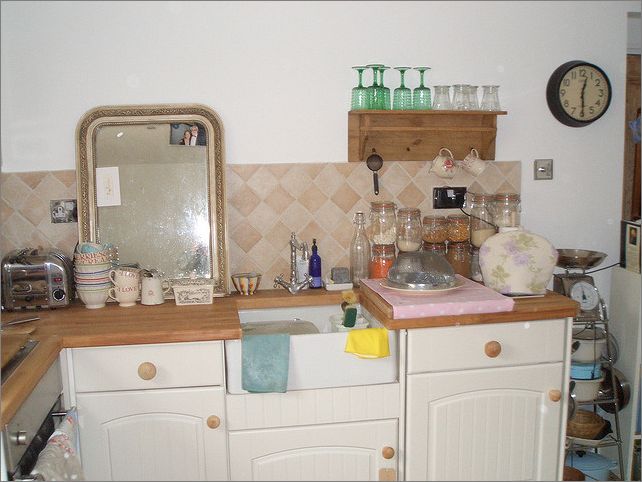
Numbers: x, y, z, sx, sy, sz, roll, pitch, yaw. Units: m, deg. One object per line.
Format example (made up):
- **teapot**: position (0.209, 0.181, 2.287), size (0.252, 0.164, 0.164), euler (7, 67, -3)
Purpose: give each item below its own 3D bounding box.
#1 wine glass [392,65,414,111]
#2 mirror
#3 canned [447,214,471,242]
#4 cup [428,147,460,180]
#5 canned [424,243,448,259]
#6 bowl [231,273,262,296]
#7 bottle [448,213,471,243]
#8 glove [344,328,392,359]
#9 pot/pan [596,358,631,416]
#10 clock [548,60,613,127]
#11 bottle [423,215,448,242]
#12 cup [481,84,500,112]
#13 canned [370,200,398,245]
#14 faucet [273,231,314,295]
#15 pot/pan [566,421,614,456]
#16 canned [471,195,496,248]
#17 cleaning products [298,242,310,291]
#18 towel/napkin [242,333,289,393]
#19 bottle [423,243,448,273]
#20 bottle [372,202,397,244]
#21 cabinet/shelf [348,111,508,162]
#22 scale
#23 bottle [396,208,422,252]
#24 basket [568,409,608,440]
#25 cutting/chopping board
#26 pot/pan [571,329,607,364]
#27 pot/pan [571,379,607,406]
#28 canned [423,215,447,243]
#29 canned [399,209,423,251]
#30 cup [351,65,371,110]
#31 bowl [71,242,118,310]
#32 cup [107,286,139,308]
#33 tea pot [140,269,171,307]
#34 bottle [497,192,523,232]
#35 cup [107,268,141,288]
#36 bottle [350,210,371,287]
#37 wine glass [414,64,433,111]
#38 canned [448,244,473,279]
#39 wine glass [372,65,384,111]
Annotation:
- **wine glass**: position (0.450, -0.845, 3.009), size (0.109, 0.250, 0.156), euler (-1, 5, 6)
- **mirror**: position (-0.924, -0.213, 2.853), size (0.962, 1.368, 0.093), euler (0, 6, -3)
- **canned**: position (0.752, -0.074, 2.985), size (0.130, 0.150, 0.137), euler (1, 7, 8)
- **cup**: position (0.686, -0.421, 3.070), size (0.144, 0.210, 0.119), euler (-1, 9, 23)
- **canned**: position (0.648, 0.058, 3.030), size (0.085, 0.086, 0.086), euler (-1, 2, -27)
- **bowl**: position (-0.410, 0.233, 2.972), size (0.153, 0.111, 0.140), euler (-1, 5, 0)
- **bottle**: position (0.756, -0.068, 2.978), size (0.134, 0.155, 0.136), euler (-3, 6, -42)
- **glove**: position (0.214, 0.469, 2.453), size (0.145, 0.067, 0.155), euler (-9, -20, 33)
- **pot/pan**: position (1.636, 0.807, 3.019), size (0.238, 0.269, 0.217), euler (-1, 0, -21)
- **clock**: position (1.510, -0.861, 3.164), size (0.332, 0.359, 0.107), euler (0, -1, 8)
- **bottle**: position (0.626, -0.066, 2.984), size (0.131, 0.135, 0.136), euler (1, 7, 11)
- **cup**: position (0.945, -0.790, 3.019), size (0.129, 0.178, 0.128), euler (-1, 14, 0)
- **canned**: position (0.344, -0.099, 3.006), size (0.148, 0.255, 0.160), euler (-5, 17, -11)
- **faucet**: position (-0.157, 0.117, 2.985), size (0.212, 0.327, 0.218), euler (-2, 5, -5)
- **pot/pan**: position (1.482, 1.077, 2.977), size (0.206, 0.067, 0.216), euler (-2, -1, 2)
- **canned**: position (0.905, -0.109, 3.043), size (0.155, 0.297, 0.129), euler (2, 6, 35)
- **cleaning products**: position (-0.082, 0.123, 3.025), size (0.075, 0.277, 0.071), euler (-8, -26, 1)
- **towel/napkin**: position (-0.251, 0.543, 2.399), size (0.224, 0.243, 0.057), euler (-1, 5, 4)
- **bottle**: position (0.587, 0.091, 2.724), size (0.141, 0.158, 0.158), euler (0, -2, -9)
- **bottle**: position (0.347, -0.101, 3.005), size (0.146, 0.251, 0.158), euler (-1, 19, 1)
- **cabinet/shelf**: position (0.583, -0.576, 2.982), size (0.818, 0.313, 0.224), euler (0, 16, -1)
- **scale**: position (1.404, 0.242, 2.974), size (0.261, 0.332, 0.254), euler (-10, -2, 34)
- **bottle**: position (0.490, -0.064, 3.020), size (0.149, 0.243, 0.146), euler (-3, 17, 1)
- **basket**: position (1.497, 1.050, 3.093), size (0.214, 0.123, 0.229), euler (2, -5, 8)
- **cutting/chopping board**: position (0.564, 0.270, 2.677), size (0.654, 0.132, 0.423), euler (-2, 5, -6)
- **pot/pan**: position (1.442, 0.571, 2.928), size (0.187, 0.105, 0.195), euler (-1, -1, 0)
- **pot/pan**: position (1.455, 0.791, 2.939), size (0.130, 0.099, 0.133), euler (-3, 6, -31)
- **canned**: position (0.622, -0.070, 2.988), size (0.132, 0.136, 0.138), euler (1, 7, 9)
- **canned**: position (0.491, -0.061, 3.014), size (0.140, 0.236, 0.147), euler (2, 14, 21)
- **cup**: position (0.212, -0.839, 2.966), size (0.108, 0.262, 0.148), euler (-1, 5, 4)
- **bowl**: position (-1.137, 0.175, 2.850), size (0.276, 0.414, 0.286), euler (3, 2, 0)
- **cup**: position (-1.014, 0.281, 2.772), size (0.133, 0.097, 0.094), euler (0, 6, -12)
- **tea pot**: position (-0.840, 0.238, 2.806), size (0.151, 0.155, 0.099), euler (-3, 8, 17)
- **bottle**: position (1.050, -0.148, 3.072), size (0.132, 0.215, 0.138), euler (-2, 2, 0)
- **cup**: position (-0.992, 0.183, 2.748), size (0.118, 0.094, 0.093), euler (-4, 10, -31)
- **bottle**: position (0.218, 0.043, 3.009), size (0.113, 0.398, 0.104), euler (-1, 5, 0)
- **wine glass**: position (0.564, -0.847, 3.022), size (0.107, 0.250, 0.189), euler (0, 5, 11)
- **canned**: position (0.782, 0.112, 3.068), size (0.133, 0.230, 0.144), euler (-2, 16, 20)
- **wine glass**: position (0.303, -0.836, 2.956), size (0.069, 0.223, 0.107), euler (-1, 5, 1)
